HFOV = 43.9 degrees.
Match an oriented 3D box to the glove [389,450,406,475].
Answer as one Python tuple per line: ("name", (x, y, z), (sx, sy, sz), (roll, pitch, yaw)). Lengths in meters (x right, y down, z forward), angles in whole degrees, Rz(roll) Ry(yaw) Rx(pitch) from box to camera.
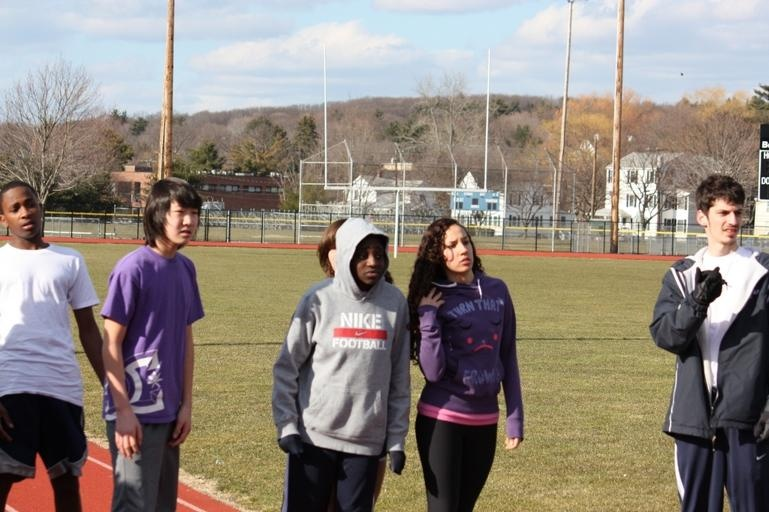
("glove", (0.088, 1.474, 6.898), (0.115, 0.202, 0.159), (1, 8, 0))

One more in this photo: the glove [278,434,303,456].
("glove", (-0.651, 1.331, 6.856), (0.131, 0.152, 0.172), (0, 9, 43))

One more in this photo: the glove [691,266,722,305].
("glove", (2.415, 0.232, 7.092), (0.202, 0.115, 0.263), (44, 31, 10))
